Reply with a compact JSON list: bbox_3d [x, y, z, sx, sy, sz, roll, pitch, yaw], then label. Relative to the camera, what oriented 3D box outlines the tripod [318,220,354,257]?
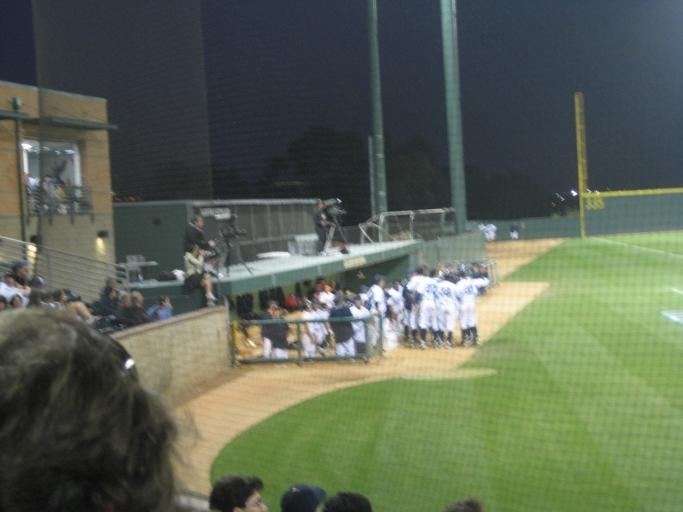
[{"bbox_3d":[-0.098,-0.253,8.986,0.310,0.414,0.341,-8,-18,-23],"label":"tripod"}]

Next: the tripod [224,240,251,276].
[{"bbox_3d":[-1.130,0.003,8.344,0.303,0.433,0.328,-2,7,-18],"label":"tripod"}]
